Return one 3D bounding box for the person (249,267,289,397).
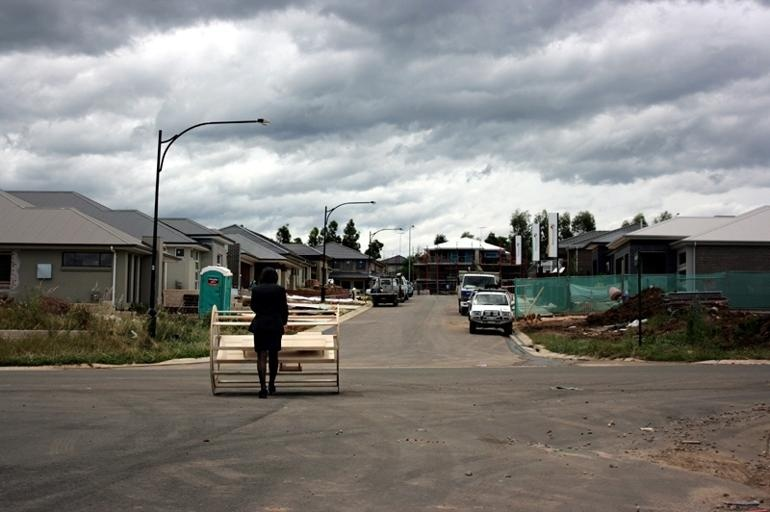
[{"bbox_3d":[-2.684,1.736,16.702,0.828,2.990,1.150,0,3,-10],"label":"person"}]

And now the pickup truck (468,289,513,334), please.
[{"bbox_3d":[5.030,2.417,35.092,2.199,1.888,4.273,1,6,3],"label":"pickup truck"}]

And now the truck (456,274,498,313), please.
[{"bbox_3d":[5.785,2.038,45.259,1.882,1.842,3.399,0,-5,-1],"label":"truck"}]

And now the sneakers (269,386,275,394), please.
[{"bbox_3d":[-2.620,3.094,16.899,0.153,0.156,0.148,-1,-5,-17],"label":"sneakers"}]

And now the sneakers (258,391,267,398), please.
[{"bbox_3d":[-2.795,3.134,16.548,0.211,0.197,0.126,-1,0,4],"label":"sneakers"}]

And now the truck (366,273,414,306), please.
[{"bbox_3d":[0.271,3.168,69.082,2.725,2.467,7.196,-2,-3,6],"label":"truck"}]

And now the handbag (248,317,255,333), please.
[{"bbox_3d":[-2.996,1.542,16.315,0.110,0.355,0.463,0,3,-14],"label":"handbag"}]
